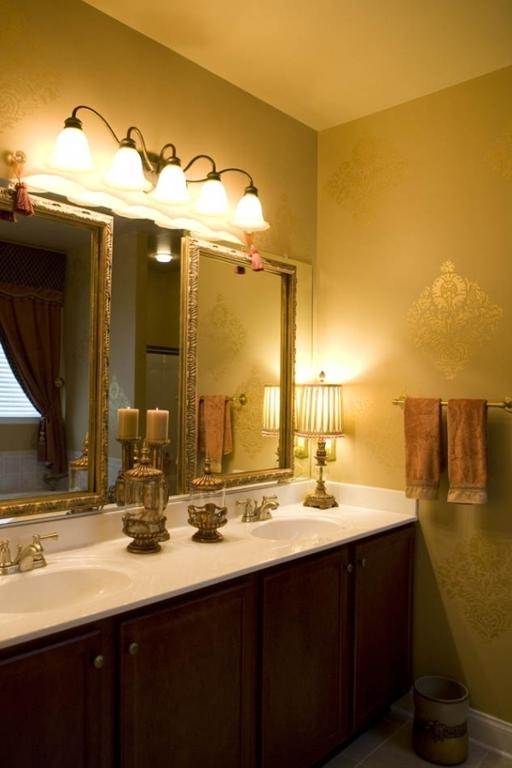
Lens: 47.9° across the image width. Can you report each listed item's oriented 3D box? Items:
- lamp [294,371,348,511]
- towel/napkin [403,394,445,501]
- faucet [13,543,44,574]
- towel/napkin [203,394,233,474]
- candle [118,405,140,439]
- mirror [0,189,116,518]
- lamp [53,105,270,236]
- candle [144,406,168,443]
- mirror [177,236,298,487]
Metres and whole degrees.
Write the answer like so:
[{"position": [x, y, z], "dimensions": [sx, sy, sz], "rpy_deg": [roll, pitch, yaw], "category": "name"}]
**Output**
[{"position": [0.292, 0.250, 2.674], "dimensions": [0.215, 0.602, 0.305], "rpy_deg": [2, 0, 8], "category": "lamp"}, {"position": [0.683, 0.261, 2.362], "dimensions": [0.153, 0.421, 0.139], "rpy_deg": [2, 0, 16], "category": "towel/napkin"}, {"position": [-0.578, 0.446, 1.480], "dimensions": [0.077, 0.073, 0.054], "rpy_deg": [-2, 1, -5], "category": "faucet"}, {"position": [-0.162, 0.157, 2.274], "dimensions": [0.107, 0.234, 0.022], "rpy_deg": [9, 16, 30], "category": "towel/napkin"}, {"position": [-0.407, 0.131, 1.830], "dimensions": [0.058, 0.090, 0.045], "rpy_deg": [2, 0, -13], "category": "candle"}, {"position": [-0.577, -0.085, 1.728], "dimensions": [0.077, 0.878, 0.361], "rpy_deg": [2, 0, 36], "category": "mirror"}, {"position": [-0.295, -0.726, 1.993], "dimensions": [0.809, 0.249, 0.204], "rpy_deg": [6, 0, -37], "category": "lamp"}, {"position": [-0.316, 0.133, 1.851], "dimensions": [0.088, 0.178, 0.093], "rpy_deg": [1, 0, -9], "category": "candle"}, {"position": [-0.048, -0.065, 2.400], "dimensions": [0.072, 0.947, 0.741], "rpy_deg": [2, 0, 38], "category": "mirror"}]
